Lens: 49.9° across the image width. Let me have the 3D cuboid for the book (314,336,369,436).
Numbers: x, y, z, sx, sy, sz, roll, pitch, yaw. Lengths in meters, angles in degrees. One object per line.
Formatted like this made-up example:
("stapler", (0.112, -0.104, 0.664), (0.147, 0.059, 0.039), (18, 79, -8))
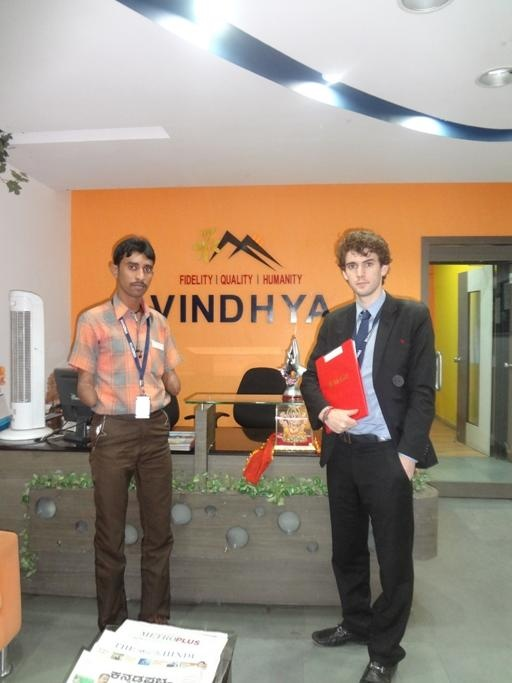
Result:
("book", (0.306, 0.173, 1.943), (0.074, 0.281, 0.270), (-2, -20, -29))

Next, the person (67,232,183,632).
("person", (-0.509, 0.351, 2.229), (0.478, 1.557, 0.311), (1, 1, -26))

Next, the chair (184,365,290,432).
("chair", (-0.130, 0.329, 3.806), (0.489, 0.734, 0.492), (3, -4, 16))

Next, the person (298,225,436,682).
("person", (0.436, 0.411, 2.076), (0.227, 1.383, 0.487), (1, 1, -36))

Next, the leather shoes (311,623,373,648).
("leather shoes", (0.360, 1.217, 2.318), (0.233, 0.098, 0.085), (6, -2, 0))
